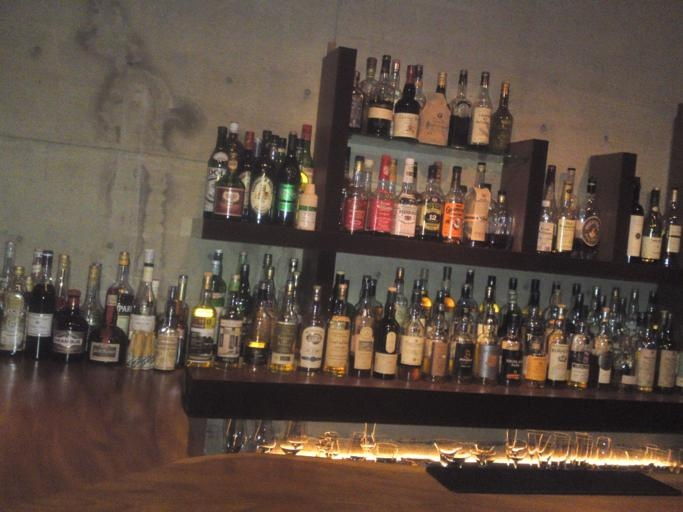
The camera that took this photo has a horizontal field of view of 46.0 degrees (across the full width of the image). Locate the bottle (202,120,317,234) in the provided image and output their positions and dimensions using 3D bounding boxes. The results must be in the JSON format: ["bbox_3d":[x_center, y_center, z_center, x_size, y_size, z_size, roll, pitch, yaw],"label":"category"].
[{"bbox_3d":[-0.317,-0.288,3.090,0.431,0.436,0.144,6,-10,-20],"label":"bottle"}]

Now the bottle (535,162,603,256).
[{"bbox_3d":[0.951,-0.184,3.381,0.380,0.508,0.157,6,-6,-30],"label":"bottle"}]
